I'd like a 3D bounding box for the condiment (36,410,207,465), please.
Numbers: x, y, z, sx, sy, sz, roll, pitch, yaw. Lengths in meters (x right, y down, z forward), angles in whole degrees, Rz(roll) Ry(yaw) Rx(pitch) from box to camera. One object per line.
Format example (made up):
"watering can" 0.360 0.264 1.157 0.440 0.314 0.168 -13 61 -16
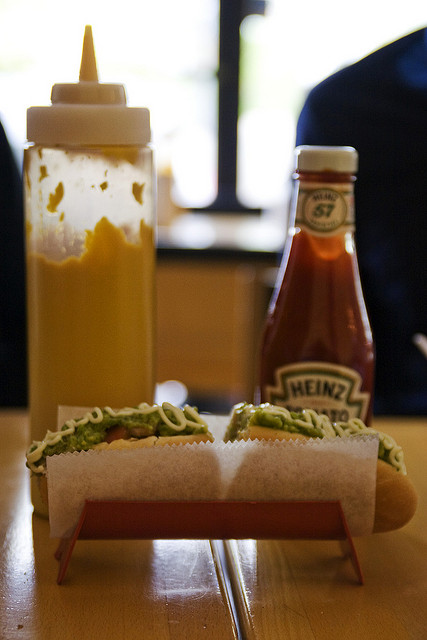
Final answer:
"condiment" -0.067 0.078 0.452 0.152 0.047 0.043 -7 -10 33

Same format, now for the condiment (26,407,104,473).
"condiment" -0.105 0.085 0.445 0.053 0.043 0.018 0 6 -16

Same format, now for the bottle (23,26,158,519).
"bottle" -0.096 -0.037 0.564 0.129 0.386 0.139 0 2 0

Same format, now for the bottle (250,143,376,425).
"bottle" 0.090 -0.029 0.576 0.118 0.248 0.091 3 6 16
